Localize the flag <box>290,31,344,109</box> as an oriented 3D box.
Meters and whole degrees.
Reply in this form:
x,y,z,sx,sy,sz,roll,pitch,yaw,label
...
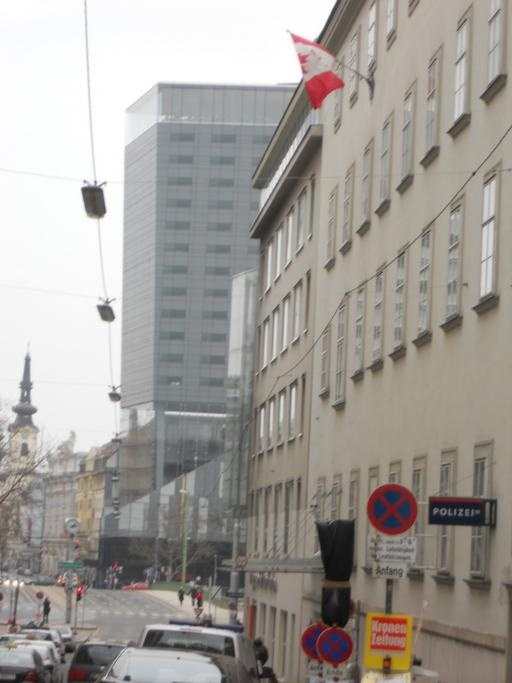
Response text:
x,y,z,sx,sy,sz,roll,pitch,yaw,label
1.200,-5.148,29.422,0.788,1.717,1.447,0,-16,6,flag
